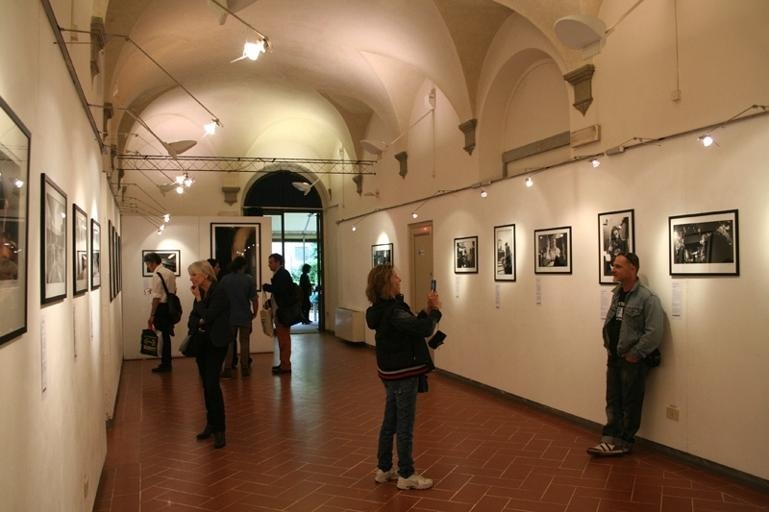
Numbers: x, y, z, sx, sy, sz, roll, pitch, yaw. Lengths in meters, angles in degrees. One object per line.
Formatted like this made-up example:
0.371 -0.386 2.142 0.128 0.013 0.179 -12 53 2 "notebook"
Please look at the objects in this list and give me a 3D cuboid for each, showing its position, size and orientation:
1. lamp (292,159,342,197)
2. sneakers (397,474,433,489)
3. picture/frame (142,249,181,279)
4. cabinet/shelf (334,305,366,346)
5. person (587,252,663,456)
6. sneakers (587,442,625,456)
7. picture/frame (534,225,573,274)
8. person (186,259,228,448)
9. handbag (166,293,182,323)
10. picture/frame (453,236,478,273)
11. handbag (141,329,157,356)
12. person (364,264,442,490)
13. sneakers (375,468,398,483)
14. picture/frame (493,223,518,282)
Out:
-1.895 -2.203 15.163 1.260 1.023 3.850 -1 3 -8 "lamp"
0.317 2.319 5.570 0.293 0.129 0.153 -2 1 -6 "sneakers"
-4.634 0.176 11.224 0.628 0.486 0.023 -1 -1 -8 "picture/frame"
-0.843 1.840 14.112 0.364 0.944 1.446 -2 3 -23 "cabinet/shelf"
2.791 1.128 6.203 0.677 2.302 0.500 0 3 27 "person"
2.539 2.219 6.258 0.442 0.175 0.164 2 -6 -8 "sneakers"
2.396 -0.088 7.613 0.045 0.686 0.671 5 -5 -28 "picture/frame"
-2.177 1.207 6.745 0.493 2.253 0.655 -3 3 -39 "person"
-3.973 0.999 10.362 0.220 0.605 0.202 -1 3 7 "handbag"
1.447 -0.029 9.487 0.021 0.621 0.604 4 -6 -26 "picture/frame"
-4.176 1.580 9.763 0.547 0.496 0.205 2 4 44 "handbag"
0.192 1.238 5.603 0.780 2.266 0.404 0 3 10 "person"
0.028 2.307 5.715 0.104 0.120 0.260 2 4 43 "sneakers"
1.914 -0.042 8.570 0.033 0.916 0.516 -2 3 -25 "picture/frame"
